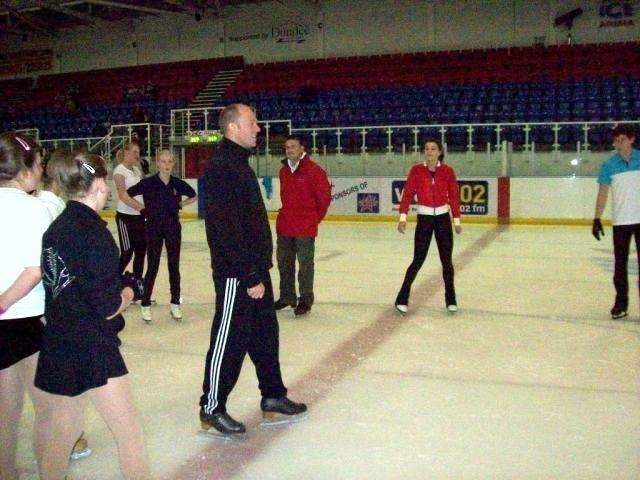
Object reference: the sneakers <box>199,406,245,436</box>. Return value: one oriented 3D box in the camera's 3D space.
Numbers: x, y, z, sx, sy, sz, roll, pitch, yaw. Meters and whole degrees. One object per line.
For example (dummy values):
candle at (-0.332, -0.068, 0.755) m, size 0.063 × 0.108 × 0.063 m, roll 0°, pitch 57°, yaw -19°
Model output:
sneakers at (-0.653, 1.226, 3.922) m, size 0.317 × 0.133 × 0.148 m, roll 1°, pitch 3°, yaw 9°

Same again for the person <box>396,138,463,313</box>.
person at (1.286, -0.174, 6.887) m, size 0.741 × 1.994 × 0.917 m, roll 1°, pitch 8°, yaw 12°

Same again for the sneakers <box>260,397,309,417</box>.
sneakers at (-0.264, 1.173, 4.142) m, size 0.362 × 0.165 × 0.130 m, roll -2°, pitch 3°, yaw -8°

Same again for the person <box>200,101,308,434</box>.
person at (-0.543, 0.198, 3.902) m, size 0.622 × 2.208 × 0.449 m, roll -9°, pitch 11°, yaw -42°

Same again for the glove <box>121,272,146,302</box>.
glove at (-1.031, 0.269, 3.166) m, size 0.144 × 0.152 × 0.147 m, roll 9°, pitch 14°, yaw 16°
